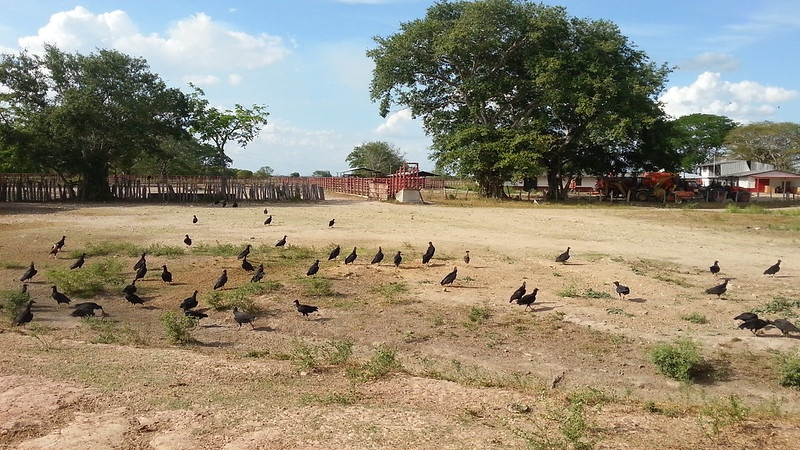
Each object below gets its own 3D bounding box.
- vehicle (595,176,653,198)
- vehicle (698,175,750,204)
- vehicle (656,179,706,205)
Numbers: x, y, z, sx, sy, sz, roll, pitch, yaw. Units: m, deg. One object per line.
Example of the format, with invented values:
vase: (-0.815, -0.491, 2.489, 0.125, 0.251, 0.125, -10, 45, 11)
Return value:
vehicle: (23.911, -3.879, 69.877, 3.813, 1.305, 2.982, 1, 8, 1)
vehicle: (33.867, -3.313, 68.736, 5.177, 2.025, 2.606, -1, 8, -8)
vehicle: (28.199, -3.381, 68.029, 4.240, 1.677, 2.548, 0, 8, 8)
